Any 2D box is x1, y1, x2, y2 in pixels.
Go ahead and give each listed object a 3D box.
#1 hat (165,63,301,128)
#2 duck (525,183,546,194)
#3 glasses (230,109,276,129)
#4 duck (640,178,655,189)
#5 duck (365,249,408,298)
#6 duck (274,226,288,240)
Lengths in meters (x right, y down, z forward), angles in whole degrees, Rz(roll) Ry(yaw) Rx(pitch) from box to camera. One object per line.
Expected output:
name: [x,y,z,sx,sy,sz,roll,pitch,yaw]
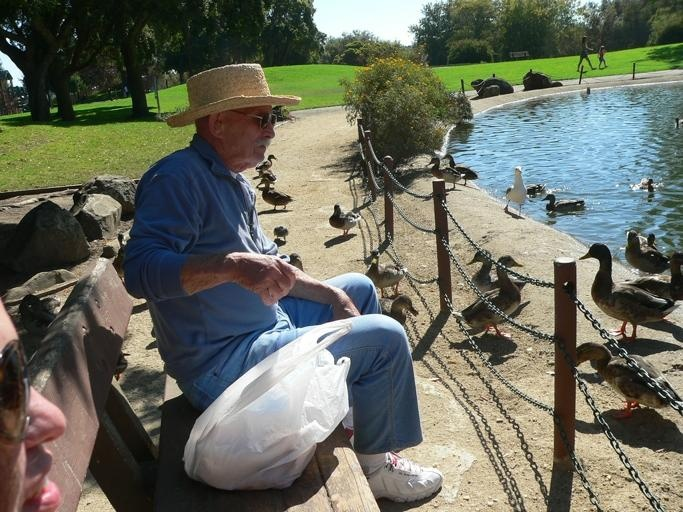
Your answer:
hat: [-0.821,-1.171,4.735,0.616,0.221,0.523,-11,4,-7]
duck: [4.518,-1.552,15.488,0.548,0.198,0.512,-1,-3,-9]
glasses: [-0.625,-0.967,4.782,0.211,0.060,0.165,10,12,18]
duck: [6.828,-1.574,14.838,0.225,0.300,0.120,9,-15,36]
duck: [0.653,0.249,9.015,0.380,0.582,0.741,1,8,35]
duck: [-1.059,-0.386,11.487,0.155,0.193,0.278,2,12,-5]
